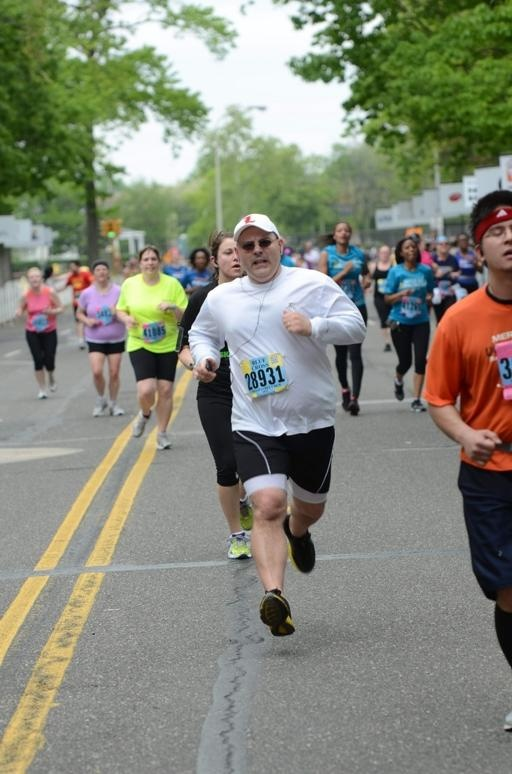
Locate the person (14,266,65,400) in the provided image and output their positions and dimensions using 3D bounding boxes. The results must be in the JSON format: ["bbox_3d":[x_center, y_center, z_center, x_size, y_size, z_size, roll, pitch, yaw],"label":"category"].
[{"bbox_3d":[-3.692,-0.945,13.577,0.862,2.265,0.800,1,10,-15],"label":"person"}]

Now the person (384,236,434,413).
[{"bbox_3d":[1.908,-0.814,10.328,0.844,1.911,1.092,-1,2,-6],"label":"person"}]

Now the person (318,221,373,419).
[{"bbox_3d":[1.236,-0.740,10.450,0.735,2.732,0.785,3,10,2],"label":"person"}]

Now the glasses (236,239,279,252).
[{"bbox_3d":[-0.002,-0.565,3.233,0.130,0.038,0.047,-3,2,11],"label":"glasses"}]

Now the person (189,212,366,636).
[{"bbox_3d":[0.063,0.171,3.296,0.884,1.669,1.038,2,12,-6],"label":"person"}]

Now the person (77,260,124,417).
[{"bbox_3d":[-2.104,-0.716,11.034,0.808,2.521,0.885,0,8,-9],"label":"person"}]

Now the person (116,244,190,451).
[{"bbox_3d":[-0.958,-0.460,8.216,0.817,2.209,0.776,-2,10,-17],"label":"person"}]
